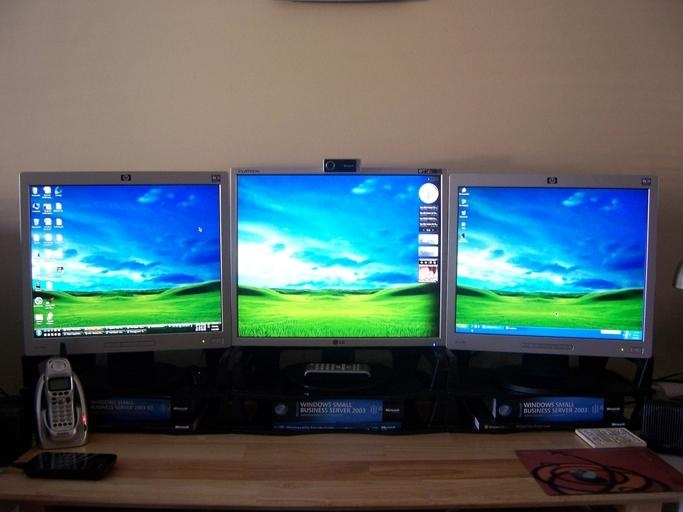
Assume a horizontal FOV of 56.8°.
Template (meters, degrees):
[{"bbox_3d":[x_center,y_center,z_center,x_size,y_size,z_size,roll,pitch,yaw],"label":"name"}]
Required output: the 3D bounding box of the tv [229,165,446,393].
[{"bbox_3d":[-0.014,0.053,2.121,0.887,0.746,0.267,0,-2,-1],"label":"tv"}]

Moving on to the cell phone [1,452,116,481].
[{"bbox_3d":[-0.832,0.619,1.882,0.226,0.026,0.121,0,0,-3],"label":"cell phone"}]

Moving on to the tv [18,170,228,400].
[{"bbox_3d":[-0.719,0.072,2.081,0.907,0.703,0.073,-1,4,-10],"label":"tv"}]

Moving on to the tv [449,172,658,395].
[{"bbox_3d":[0.703,0.066,2.093,0.863,0.730,0.285,0,-3,4],"label":"tv"}]
